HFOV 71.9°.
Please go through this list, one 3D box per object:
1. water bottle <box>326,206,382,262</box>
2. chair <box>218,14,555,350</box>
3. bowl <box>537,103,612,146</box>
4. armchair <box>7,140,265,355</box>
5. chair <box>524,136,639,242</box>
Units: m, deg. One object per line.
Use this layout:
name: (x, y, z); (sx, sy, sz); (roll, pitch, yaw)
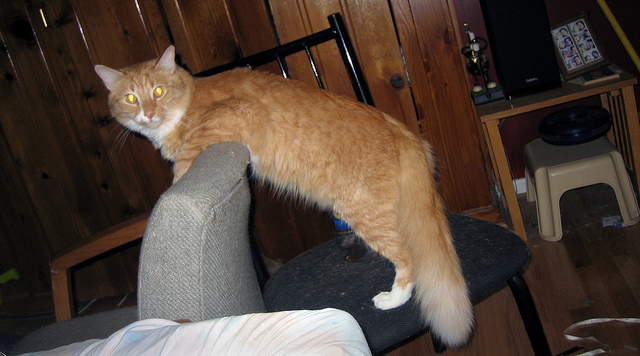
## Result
water bottle: (0.169, 0.321, 2.565); (0.291, 0.338, 0.122); (-3, 16, 32)
chair: (0.421, -0.044, 2.684); (1.263, 2.321, 1.428); (-22, 19, -12)
bowl: (1.868, -0.365, 3.295); (0.428, 0.165, 0.442); (2, -11, 0)
armchair: (-0.871, 0.307, 2.749); (1.359, 1.542, 1.075); (3, 13, 18)
chair: (1.905, 0.109, 3.400); (0.748, 0.604, 0.775); (-20, 28, 8)
